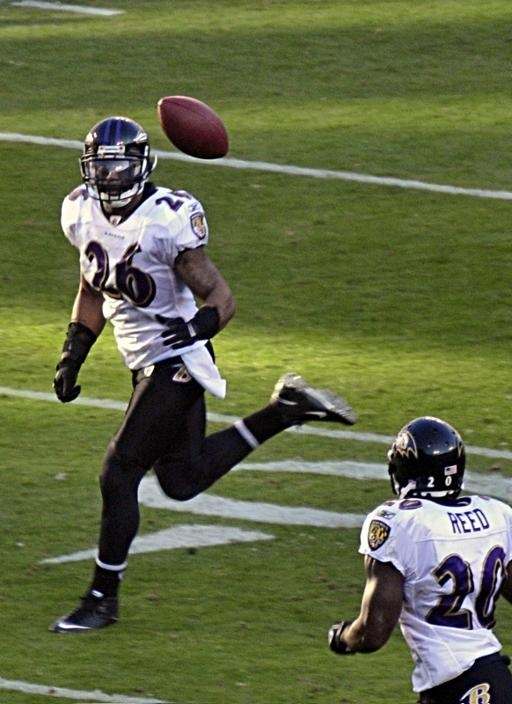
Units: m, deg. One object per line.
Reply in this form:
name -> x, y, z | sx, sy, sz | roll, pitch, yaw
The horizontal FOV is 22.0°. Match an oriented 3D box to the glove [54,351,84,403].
glove -> -0.713, 0.112, 5.360 | 0.077, 0.188, 0.152 | 20, 11, -39

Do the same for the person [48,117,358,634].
person -> -0.432, 0.040, 5.036 | 0.666, 1.847, 1.138 | 15, 16, 43

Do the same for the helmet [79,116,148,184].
helmet -> -0.529, -0.785, 5.103 | 0.246, 0.217, 0.298 | -2, 3, 5

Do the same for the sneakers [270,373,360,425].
sneakers -> 0.226, 0.200, 5.267 | 0.297, 0.204, 0.115 | 21, -3, -9

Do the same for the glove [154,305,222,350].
glove -> -0.251, -0.083, 4.863 | 0.144, 0.078, 0.214 | 38, 35, 14
